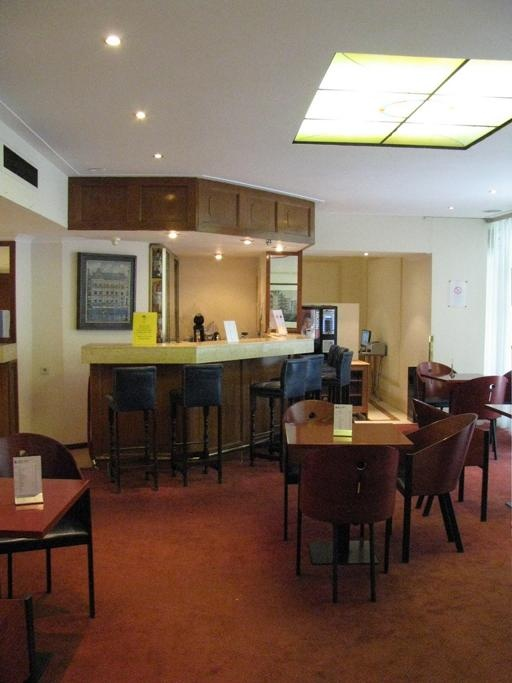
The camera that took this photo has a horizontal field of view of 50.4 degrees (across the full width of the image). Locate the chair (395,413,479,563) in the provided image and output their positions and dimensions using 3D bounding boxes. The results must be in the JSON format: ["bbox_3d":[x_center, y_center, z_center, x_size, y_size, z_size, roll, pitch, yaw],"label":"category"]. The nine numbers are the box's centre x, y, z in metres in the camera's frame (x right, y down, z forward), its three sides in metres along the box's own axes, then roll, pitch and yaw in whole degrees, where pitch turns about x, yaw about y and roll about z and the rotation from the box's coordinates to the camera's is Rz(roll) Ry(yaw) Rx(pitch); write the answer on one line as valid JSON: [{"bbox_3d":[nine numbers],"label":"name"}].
[{"bbox_3d":[0.967,0.792,3.148,0.478,0.709,0.516,2,-1,-17],"label":"chair"}]

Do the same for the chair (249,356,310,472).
[{"bbox_3d":[0.213,0.619,4.984,0.470,0.992,0.478,1,0,17],"label":"chair"}]

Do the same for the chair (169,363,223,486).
[{"bbox_3d":[-0.523,0.669,4.716,0.431,0.989,0.819,0,2,-9],"label":"chair"}]

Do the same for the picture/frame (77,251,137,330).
[{"bbox_3d":[-1.611,-0.540,5.774,0.840,1.177,0.045,0,-1,-30],"label":"picture/frame"}]

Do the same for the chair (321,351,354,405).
[{"bbox_3d":[0.800,0.413,6.052,0.423,0.629,0.425,-3,10,-9],"label":"chair"}]

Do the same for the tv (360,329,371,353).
[{"bbox_3d":[1.832,-0.006,9.057,0.118,0.377,0.370,2,-1,-4],"label":"tv"}]

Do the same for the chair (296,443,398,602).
[{"bbox_3d":[0.436,0.842,2.679,0.483,0.761,0.487,0,2,6],"label":"chair"}]

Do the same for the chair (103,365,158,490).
[{"bbox_3d":[-1.011,0.683,4.509,0.416,0.993,0.741,0,2,-13],"label":"chair"}]

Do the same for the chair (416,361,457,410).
[{"bbox_3d":[1.993,0.583,6.068,0.400,0.596,0.430,1,10,-1],"label":"chair"}]
